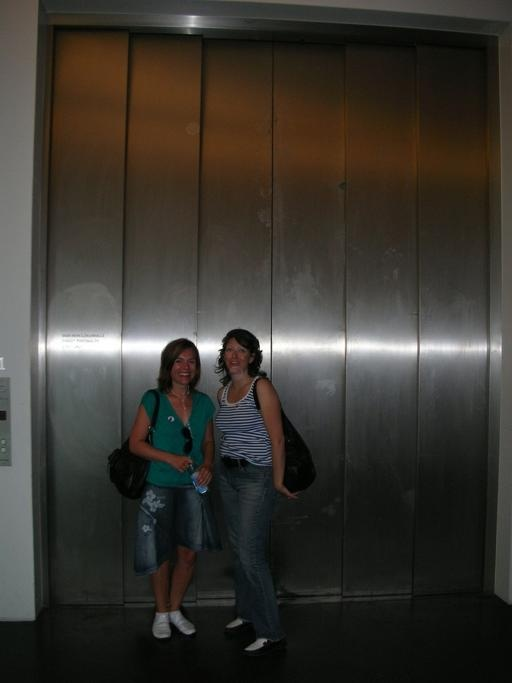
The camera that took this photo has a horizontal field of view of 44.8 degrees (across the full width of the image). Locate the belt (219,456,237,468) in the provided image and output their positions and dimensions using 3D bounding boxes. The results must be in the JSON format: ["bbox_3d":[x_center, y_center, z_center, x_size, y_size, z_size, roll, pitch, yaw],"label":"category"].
[{"bbox_3d":[-0.145,0.689,3.495,0.071,0.020,0.077,17,-41,15],"label":"belt"}]

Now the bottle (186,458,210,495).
[{"bbox_3d":[-0.332,0.781,3.519,0.108,0.221,0.160,0,3,-5],"label":"bottle"}]

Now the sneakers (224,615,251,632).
[{"bbox_3d":[-0.113,1.679,3.717,0.144,0.069,0.065,7,-9,-32],"label":"sneakers"}]

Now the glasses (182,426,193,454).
[{"bbox_3d":[-0.396,0.573,3.556,0.054,0.161,0.021,0,2,-10],"label":"glasses"}]

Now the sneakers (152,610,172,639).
[{"bbox_3d":[-0.544,1.642,3.563,0.067,0.083,0.177,9,-15,-7],"label":"sneakers"}]

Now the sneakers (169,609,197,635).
[{"bbox_3d":[-0.433,1.648,3.640,0.072,0.099,0.226,-1,-16,-26],"label":"sneakers"}]

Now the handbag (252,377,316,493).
[{"bbox_3d":[0.163,0.541,3.564,0.291,0.673,0.253,-11,-11,18],"label":"handbag"}]

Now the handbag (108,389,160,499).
[{"bbox_3d":[-0.717,0.581,3.571,0.331,0.598,0.172,2,2,24],"label":"handbag"}]

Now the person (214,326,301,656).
[{"bbox_3d":[-0.029,0.832,3.520,0.293,1.778,0.493,-1,3,-29],"label":"person"}]
